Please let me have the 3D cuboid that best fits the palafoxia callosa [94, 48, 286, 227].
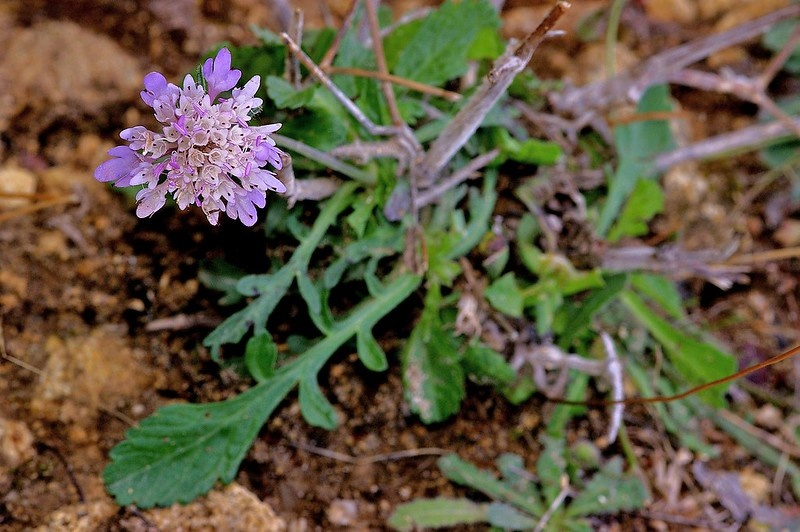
[{"bbox_3d":[-0.404,-0.258,1.656,0.380,0.153,0.385,-20,100,-3],"label":"palafoxia callosa"}]
